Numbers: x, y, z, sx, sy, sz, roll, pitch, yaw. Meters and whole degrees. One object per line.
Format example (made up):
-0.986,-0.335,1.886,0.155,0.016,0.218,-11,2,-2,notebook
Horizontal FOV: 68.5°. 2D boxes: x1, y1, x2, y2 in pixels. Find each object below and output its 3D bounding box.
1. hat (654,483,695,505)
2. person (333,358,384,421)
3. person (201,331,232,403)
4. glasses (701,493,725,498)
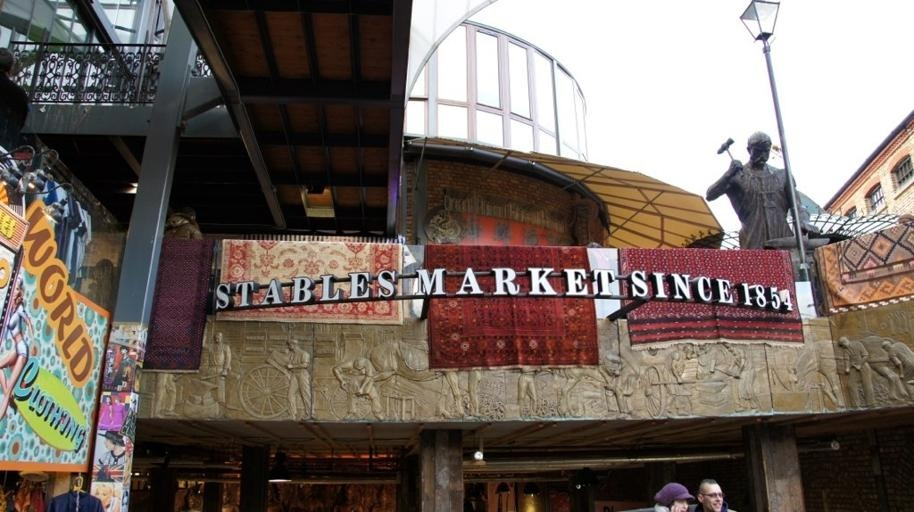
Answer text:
4.196,4.559,13.044,0.635,0.313,0.435,-7,-10,14,hat
-2.701,3.476,18.124,1.145,1.665,0.567,3,7,1,person
-6.577,3.039,18.274,0.737,1.907,0.567,8,-28,-19,person
4.963,4.525,12.772,0.370,0.080,0.146,14,-30,-30,glasses
